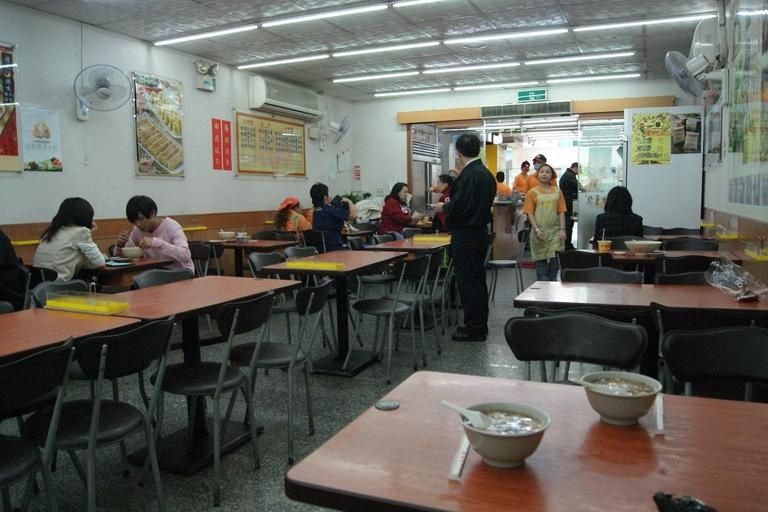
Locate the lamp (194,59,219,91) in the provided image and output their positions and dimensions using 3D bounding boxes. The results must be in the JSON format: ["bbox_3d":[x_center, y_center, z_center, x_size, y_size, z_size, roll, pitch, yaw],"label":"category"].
[{"bbox_3d":[-2.549,-2.621,8.065,0.431,0.398,0.127,20,13,18],"label":"lamp"}]

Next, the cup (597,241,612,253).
[{"bbox_3d":[2.038,-0.091,5.090,0.135,0.090,0.133,-2,6,0],"label":"cup"}]

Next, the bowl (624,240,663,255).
[{"bbox_3d":[2.281,-0.079,4.906,0.212,0.072,0.216,-1,-2,0],"label":"bowl"}]

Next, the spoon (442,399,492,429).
[{"bbox_3d":[0.276,0.491,1.749,0.122,0.022,0.082,23,29,35],"label":"spoon"}]

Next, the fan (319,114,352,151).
[{"bbox_3d":[-1.004,-2.331,10.725,0.430,0.569,0.483,16,6,-5],"label":"fan"}]

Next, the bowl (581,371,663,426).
[{"bbox_3d":[0.808,0.484,1.880,0.249,0.105,0.246,-2,8,0],"label":"bowl"}]

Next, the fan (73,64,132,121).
[{"bbox_3d":[-3.246,-1.899,6.345,0.575,0.488,0.552,-8,13,-26],"label":"fan"}]

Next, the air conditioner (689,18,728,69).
[{"bbox_3d":[3.361,-2.212,5.657,0.284,0.578,1.188,3,13,26],"label":"air conditioner"}]

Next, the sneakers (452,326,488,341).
[{"bbox_3d":[0.862,0.794,5.575,0.243,0.073,0.174,4,0,5],"label":"sneakers"}]

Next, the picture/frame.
[{"bbox_3d":[-1.949,-1.905,9.295,0.028,0.716,1.392,-1,2,29],"label":"picture/frame"}]

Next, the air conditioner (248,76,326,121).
[{"bbox_3d":[-1.672,-2.708,9.624,0.348,0.495,1.749,12,11,22],"label":"air conditioner"}]

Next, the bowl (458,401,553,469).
[{"bbox_3d":[0.380,0.568,1.746,0.285,0.120,0.276,-2,5,0],"label":"bowl"}]
